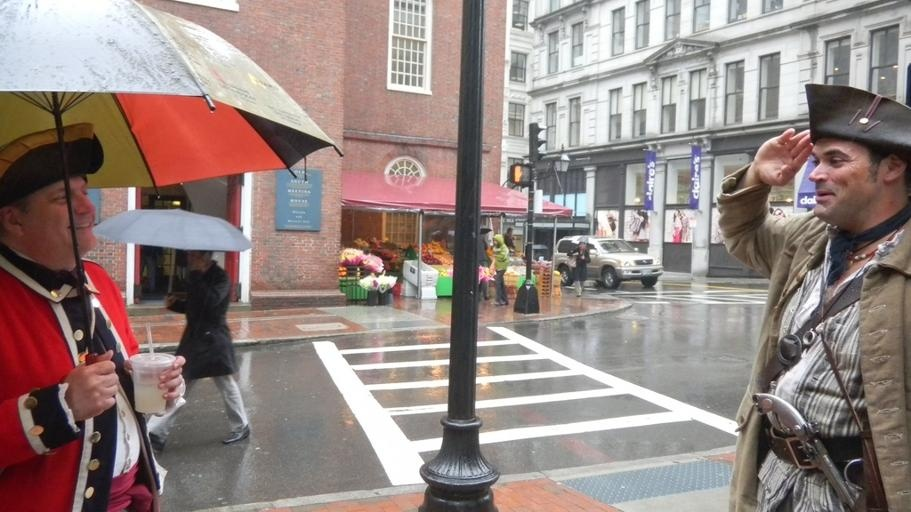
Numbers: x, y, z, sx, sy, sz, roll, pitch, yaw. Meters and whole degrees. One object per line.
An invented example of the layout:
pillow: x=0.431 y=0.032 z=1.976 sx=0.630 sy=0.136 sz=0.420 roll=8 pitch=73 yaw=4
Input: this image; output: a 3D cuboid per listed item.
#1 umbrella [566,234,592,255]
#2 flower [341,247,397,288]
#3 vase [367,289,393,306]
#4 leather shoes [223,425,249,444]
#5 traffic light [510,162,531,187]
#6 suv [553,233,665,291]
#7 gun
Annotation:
umbrella: x=4.674 y=-0.420 z=27.357 sx=0.752 sy=0.593 sz=1.196 roll=-2 pitch=-3 yaw=11
flower: x=-2.360 y=0.353 z=19.441 sx=1.315 sy=1.033 sz=1.426 roll=-2 pitch=5 yaw=-12
vase: x=-1.961 y=1.072 z=18.943 sx=0.472 sy=0.286 sz=0.460 roll=0 pitch=-2 yaw=22
leather shoes: x=-2.490 y=2.047 z=8.379 sx=0.106 sy=0.109 sz=0.287 roll=3 pitch=3 yaw=31
traffic light: x=1.590 y=-1.977 z=17.782 sx=0.624 sy=0.764 sz=0.549 roll=0 pitch=-2 yaw=-4
suv: x=5.572 y=0.223 z=27.377 sx=2.281 sy=1.551 sz=3.650 roll=1 pitch=-2 yaw=-40
gun: x=2.101 y=1.162 z=4.355 sx=0.111 sy=0.784 sz=0.308 roll=-31 pitch=0 yaw=-16
